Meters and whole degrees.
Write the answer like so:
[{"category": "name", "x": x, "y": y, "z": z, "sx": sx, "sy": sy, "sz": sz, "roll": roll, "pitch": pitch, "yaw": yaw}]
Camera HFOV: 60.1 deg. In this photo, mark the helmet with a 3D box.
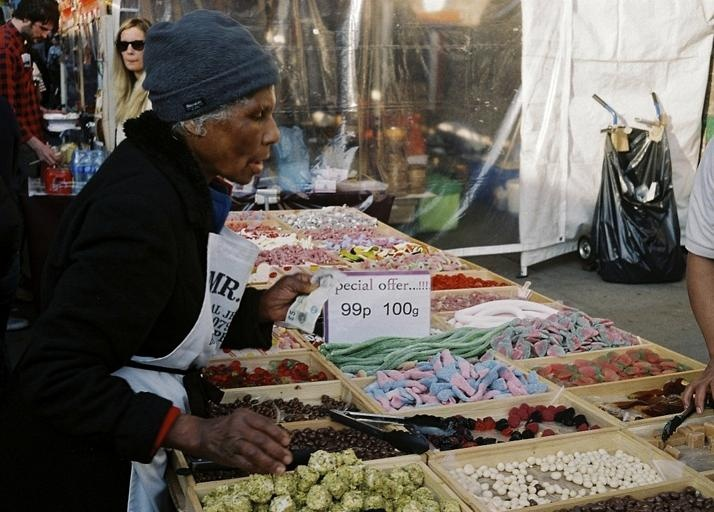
[{"category": "helmet", "x": -0.426, "y": -0.555, "z": 1.920, "sx": 0.385, "sy": 0.262, "sz": 0.354, "roll": -10, "pitch": 26, "yaw": 11}]
